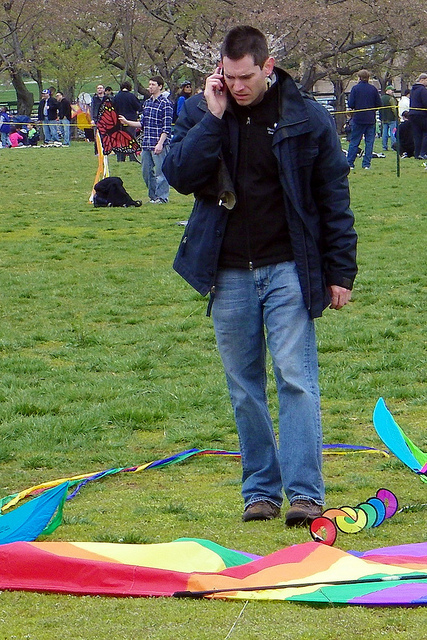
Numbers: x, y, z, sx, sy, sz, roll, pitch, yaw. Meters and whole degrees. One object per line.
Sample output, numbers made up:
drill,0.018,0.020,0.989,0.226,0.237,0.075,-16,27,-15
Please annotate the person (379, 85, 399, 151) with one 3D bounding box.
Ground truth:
person,4.984,-5.456,30.781,0.647,1.706,0.608,-4,6,-22

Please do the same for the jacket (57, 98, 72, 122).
jacket,-5.231,-7.252,39.054,0.454,0.801,1.515,-3,13,-8

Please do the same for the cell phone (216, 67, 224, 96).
cell phone,0.032,-0.986,4.663,0.025,0.089,0.094,11,2,6

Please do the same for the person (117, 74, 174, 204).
person,-0.983,-2.657,16.814,0.856,1.886,0.631,2,3,30

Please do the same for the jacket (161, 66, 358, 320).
jacket,0.197,-0.530,4.802,0.817,1.065,0.396,-1,13,-4

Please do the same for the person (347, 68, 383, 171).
person,2.950,-3.955,22.364,0.730,1.904,0.717,-2,6,-21
